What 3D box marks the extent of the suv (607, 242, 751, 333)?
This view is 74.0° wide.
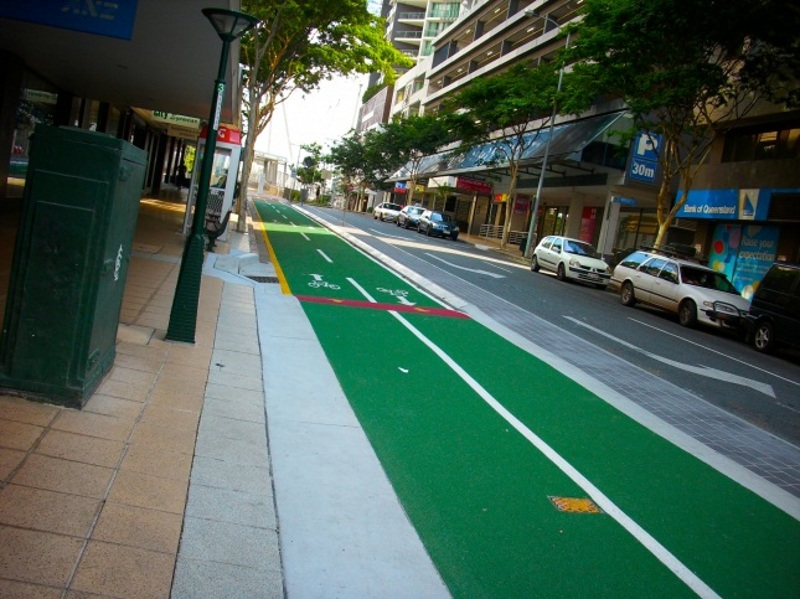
[{"bbox_3d":[9.655,-0.233,18.268,2.345,1.505,4.533,8,6,-21],"label":"suv"}]

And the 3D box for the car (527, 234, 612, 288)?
[{"bbox_3d":[8.456,-1.998,26.030,1.869,2.010,3.828,5,11,-21],"label":"car"}]
